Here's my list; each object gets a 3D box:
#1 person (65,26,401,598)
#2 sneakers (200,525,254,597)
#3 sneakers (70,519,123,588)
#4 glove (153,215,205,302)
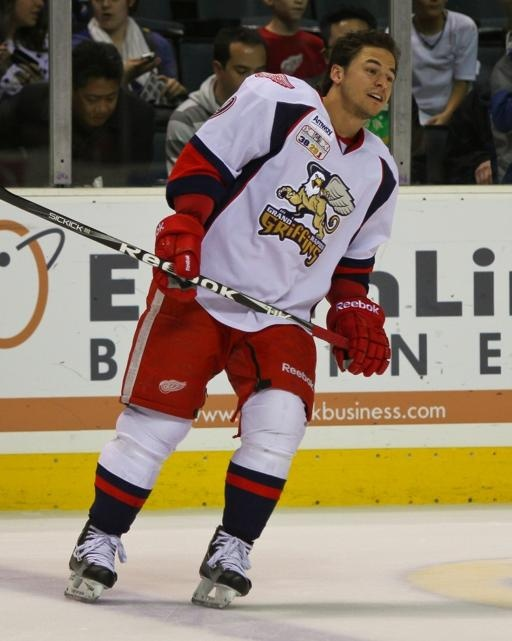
[{"bbox_3d":[0.026,-0.027,2.593,0.725,1.086,0.423,6,6,-40],"label":"person"},{"bbox_3d":[-0.073,0.610,2.477,0.132,0.139,0.103,9,4,0],"label":"sneakers"},{"bbox_3d":[-0.391,0.582,2.500,0.129,0.104,0.101,8,4,-2],"label":"sneakers"},{"bbox_3d":[-0.164,-0.143,2.439,0.097,0.189,0.137,19,-25,-39],"label":"glove"}]
